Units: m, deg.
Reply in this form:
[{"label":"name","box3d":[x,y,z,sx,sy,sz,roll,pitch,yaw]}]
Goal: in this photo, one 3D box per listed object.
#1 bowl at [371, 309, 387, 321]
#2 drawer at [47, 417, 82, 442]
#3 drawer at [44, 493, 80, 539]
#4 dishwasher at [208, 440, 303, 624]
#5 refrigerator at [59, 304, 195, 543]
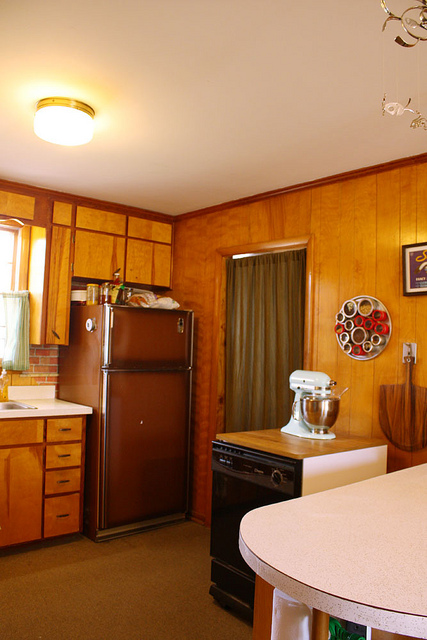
[{"label":"bowl","box3d":[0.929,-0.026,2.661,0.057,0.059,0.054,-18,-28,-10]},{"label":"drawer","box3d":[-1.027,0.703,3.262,0.141,0.143,0.221,-5,-7,43]},{"label":"drawer","box3d":[-1.071,1.334,3.291,0.262,0.273,0.199,5,-10,-36]},{"label":"dishwasher","box3d":[0.327,1.000,2.397,0.498,0.908,0.512,0,3,-34]},{"label":"refrigerator","box3d":[-0.601,0.733,3.588,0.929,1.668,0.445,4,-6,-27]}]
